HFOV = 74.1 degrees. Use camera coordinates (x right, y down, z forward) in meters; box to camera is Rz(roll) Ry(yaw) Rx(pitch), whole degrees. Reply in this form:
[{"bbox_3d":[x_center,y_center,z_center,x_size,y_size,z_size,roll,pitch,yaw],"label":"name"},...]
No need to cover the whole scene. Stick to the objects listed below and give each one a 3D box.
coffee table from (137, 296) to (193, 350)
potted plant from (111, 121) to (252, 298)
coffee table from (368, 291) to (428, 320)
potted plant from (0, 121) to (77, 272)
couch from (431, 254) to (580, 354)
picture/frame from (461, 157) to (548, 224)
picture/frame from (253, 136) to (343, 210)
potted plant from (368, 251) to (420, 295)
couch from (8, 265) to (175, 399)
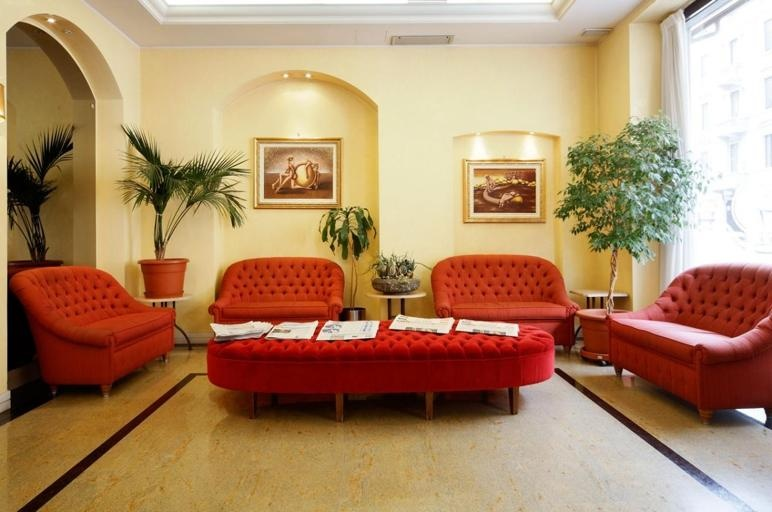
[{"bbox_3d":[-2.879,0.893,6.838,0.657,0.723,0.661,-5,-6,-15],"label":"coffee table"},{"bbox_3d":[-2.945,-0.571,6.990,2.079,2.284,1.468,1,-13,-27],"label":"potted plant"},{"bbox_3d":[0.163,0.692,7.011,0.736,0.501,0.922,0,7,4],"label":"coffee table"},{"bbox_3d":[-4.811,-0.904,7.132,0.812,1.943,1.481,-6,9,-37],"label":"potted plant"},{"bbox_3d":[1.603,0.404,6.913,1.991,1.368,1.151,2,-7,2],"label":"couch"},{"bbox_3d":[1.710,-0.987,7.459,0.954,0.720,0.048,0,-2,-2],"label":"picture/frame"},{"bbox_3d":[-1.356,-1.246,7.498,1.090,0.904,0.081,0,-2,-3],"label":"picture/frame"},{"bbox_3d":[0.149,0.246,6.905,0.662,0.517,0.638,2,2,-33],"label":"potted plant"},{"bbox_3d":[-3.278,0.882,5.862,1.239,1.300,1.632,1,2,3],"label":"couch"}]
